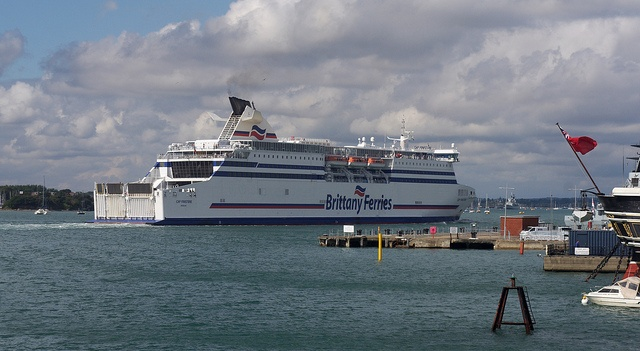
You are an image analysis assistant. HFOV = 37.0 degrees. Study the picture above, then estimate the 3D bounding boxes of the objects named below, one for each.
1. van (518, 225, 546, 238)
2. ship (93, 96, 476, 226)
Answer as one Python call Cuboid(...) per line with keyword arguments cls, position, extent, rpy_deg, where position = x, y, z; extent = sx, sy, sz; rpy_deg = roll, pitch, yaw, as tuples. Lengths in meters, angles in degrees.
Cuboid(cls="van", position=(26.727, 7.472, 120.725), extent=(2.620, 1.103, 1.523), rpy_deg=(1, -3, -6))
Cuboid(cls="ship", position=(-3.412, -1.406, 154.359), extent=(62.019, 22.815, 14.317), rpy_deg=(-7, 15, -29))
